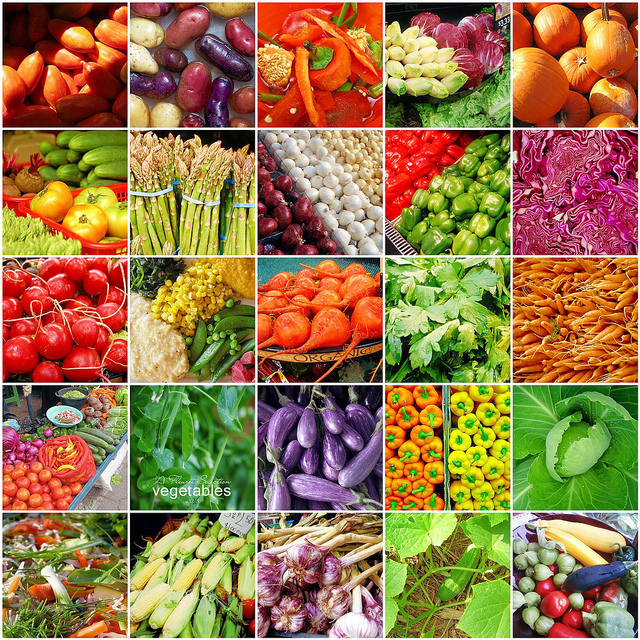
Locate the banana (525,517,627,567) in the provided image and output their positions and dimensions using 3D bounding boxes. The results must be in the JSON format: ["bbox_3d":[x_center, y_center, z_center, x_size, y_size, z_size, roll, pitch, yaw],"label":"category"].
[{"bbox_3d":[1.020,0.883,2.206,0.325,0.081,0.144,2,32,38],"label":"banana"}]

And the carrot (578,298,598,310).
[{"bbox_3d":[1.056,-0.067,2.174,0.085,0.028,0.008,29,-4,1],"label":"carrot"}]
